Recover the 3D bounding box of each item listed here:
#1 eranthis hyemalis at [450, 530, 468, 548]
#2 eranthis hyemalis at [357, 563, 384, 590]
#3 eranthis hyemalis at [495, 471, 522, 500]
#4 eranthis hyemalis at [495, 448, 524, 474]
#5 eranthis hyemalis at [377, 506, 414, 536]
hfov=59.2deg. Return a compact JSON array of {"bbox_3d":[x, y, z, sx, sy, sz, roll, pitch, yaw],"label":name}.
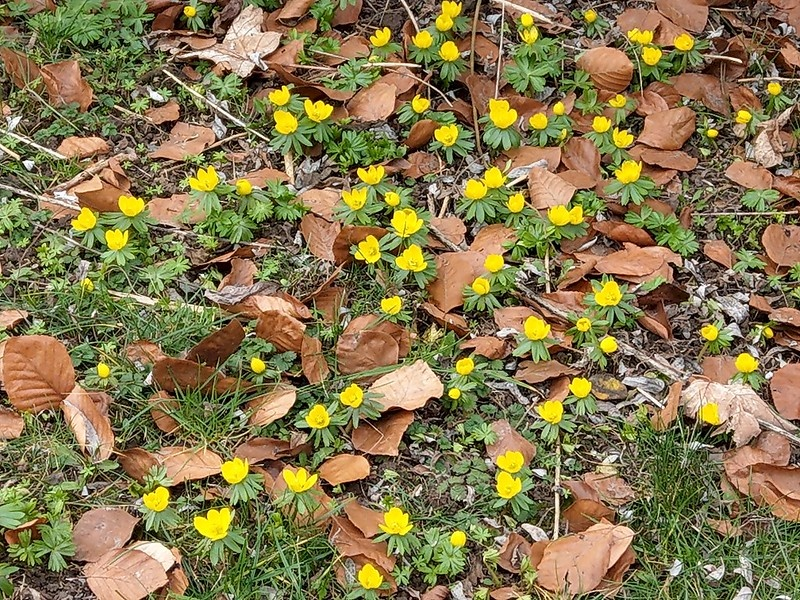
[{"bbox_3d":[0.228,0.928,2.753,0.068,0.023,0.067,21,108,6],"label":"eranthis hyemalis"},{"bbox_3d":[-0.116,1.057,2.660,0.104,0.152,0.063,32,58,7],"label":"eranthis hyemalis"},{"bbox_3d":[0.436,0.744,2.821,0.102,0.070,0.117,-24,85,10],"label":"eranthis hyemalis"},{"bbox_3d":[0.457,0.659,2.906,0.101,0.047,0.101,45,94,0],"label":"eranthis hyemalis"},{"bbox_3d":[-0.020,0.874,2.736,0.100,0.067,0.133,-6,50,-3],"label":"eranthis hyemalis"}]
